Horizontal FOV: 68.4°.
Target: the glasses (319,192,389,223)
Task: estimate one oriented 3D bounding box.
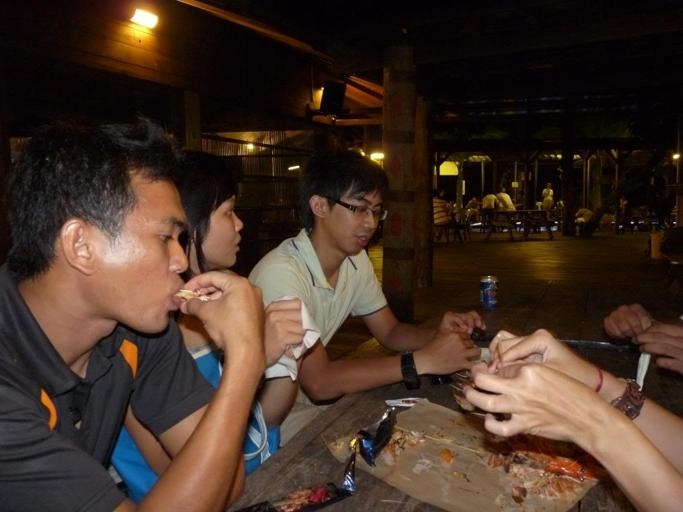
[{"bbox_3d":[0.073,-0.282,2.780,0.216,0.066,0.171,29,10,18],"label":"glasses"}]

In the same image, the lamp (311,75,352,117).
[{"bbox_3d":[-0.197,-3.231,9.848,0.703,1.038,1.022,-2,34,-4],"label":"lamp"}]

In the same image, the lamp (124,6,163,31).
[{"bbox_3d":[-2.325,-2.865,6.048,0.165,0.192,0.435,3,9,16],"label":"lamp"}]

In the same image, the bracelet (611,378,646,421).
[{"bbox_3d":[0.937,0.472,1.646,0.123,0.093,0.046,-43,-10,-13],"label":"bracelet"}]
